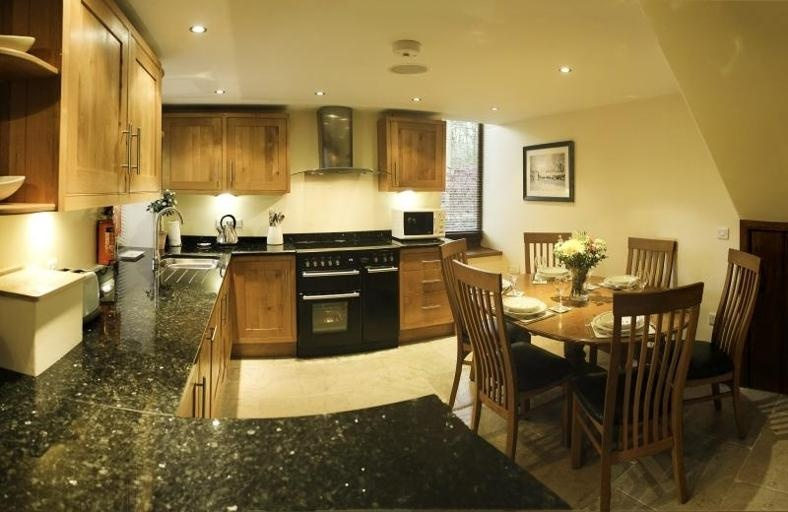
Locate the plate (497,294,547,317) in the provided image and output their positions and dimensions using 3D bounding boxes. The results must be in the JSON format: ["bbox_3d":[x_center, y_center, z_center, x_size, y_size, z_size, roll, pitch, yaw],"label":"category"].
[{"bbox_3d":[0.675,0.265,2.873,0.134,0.030,0.131,-7,15,-22],"label":"plate"}]

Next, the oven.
[{"bbox_3d":[-0.262,0.406,4.394,0.910,0.738,0.491,-6,-14,22],"label":"oven"}]

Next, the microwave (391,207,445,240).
[{"bbox_3d":[0.186,-0.258,4.632,0.448,0.277,0.318,-2,12,4],"label":"microwave"}]

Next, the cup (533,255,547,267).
[{"bbox_3d":[1.024,0.040,3.902,0.085,0.130,0.090,-2,4,0],"label":"cup"}]

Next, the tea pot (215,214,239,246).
[{"bbox_3d":[-1.345,-0.206,4.468,0.168,0.240,0.196,-6,12,-14],"label":"tea pot"}]

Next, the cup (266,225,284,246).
[{"bbox_3d":[-0.959,-0.158,4.461,0.154,0.161,0.158,0,9,0],"label":"cup"}]

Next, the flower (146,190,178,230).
[{"bbox_3d":[-1.631,-0.320,3.886,0.243,0.317,0.264,-3,15,-15],"label":"flower"}]

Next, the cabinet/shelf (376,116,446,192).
[{"bbox_3d":[0.132,-0.866,4.627,0.644,0.597,0.284,-3,6,-26],"label":"cabinet/shelf"}]

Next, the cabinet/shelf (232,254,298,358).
[{"bbox_3d":[-0.964,0.319,4.104,0.472,0.652,0.132,-2,12,3],"label":"cabinet/shelf"}]

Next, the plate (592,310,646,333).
[{"bbox_3d":[1.018,0.316,2.629,0.181,0.034,0.174,-7,16,-3],"label":"plate"}]

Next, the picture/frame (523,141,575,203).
[{"bbox_3d":[1.140,-0.609,4.052,0.029,0.357,0.376,-8,11,-31],"label":"picture/frame"}]

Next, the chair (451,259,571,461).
[{"bbox_3d":[0.592,0.480,2.849,0.557,0.958,0.524,-10,14,-32],"label":"chair"}]
